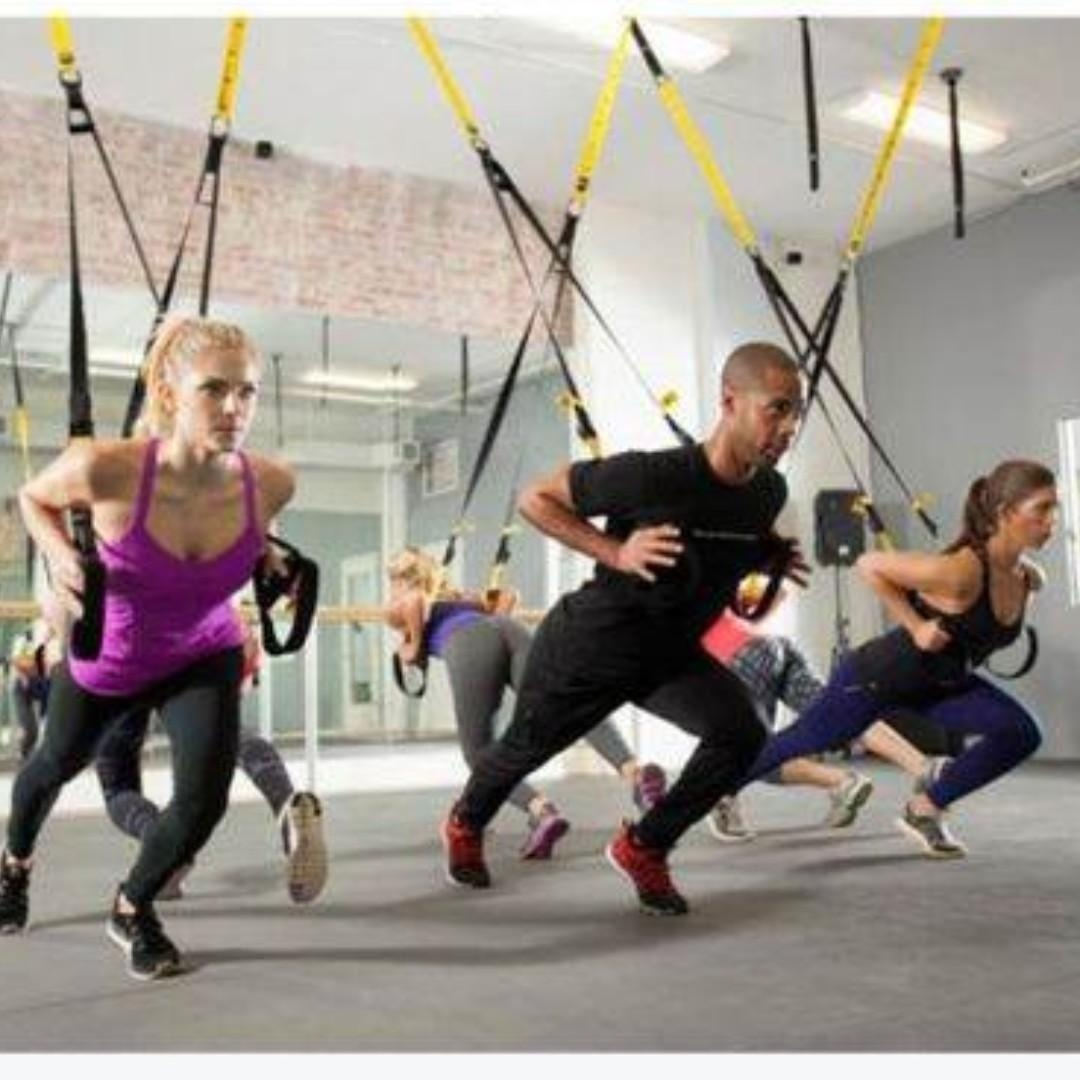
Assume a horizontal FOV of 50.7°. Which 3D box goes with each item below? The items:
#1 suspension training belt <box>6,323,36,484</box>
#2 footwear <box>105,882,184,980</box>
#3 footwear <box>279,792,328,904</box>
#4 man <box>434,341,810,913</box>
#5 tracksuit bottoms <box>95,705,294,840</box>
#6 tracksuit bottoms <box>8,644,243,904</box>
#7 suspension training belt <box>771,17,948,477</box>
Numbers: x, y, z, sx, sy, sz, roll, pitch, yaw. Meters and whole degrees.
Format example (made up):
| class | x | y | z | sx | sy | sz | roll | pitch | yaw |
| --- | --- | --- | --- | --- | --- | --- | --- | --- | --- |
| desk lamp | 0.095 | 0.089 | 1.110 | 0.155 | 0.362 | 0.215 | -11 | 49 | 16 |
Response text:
| class | x | y | z | sx | sy | sz | roll | pitch | yaw |
| --- | --- | --- | --- | --- | --- | --- | --- | --- | --- |
| suspension training belt | -0.920 | -0.244 | 2.014 | 0.073 | 0.243 | 0.015 | 6 | 1 | 23 |
| footwear | -0.711 | 0.703 | 2.046 | 0.197 | 0.072 | 0.086 | 17 | 16 | 33 |
| footwear | -0.411 | 0.551 | 2.058 | 0.087 | 0.186 | 0.088 | -5 | -9 | -10 |
| man | 0.169 | 0.196 | 2.160 | 0.724 | 0.966 | 0.552 | -5 | -23 | 40 |
| tracksuit bottoms | -0.567 | 0.406 | 2.096 | 0.352 | 0.267 | 0.195 | -3 | 13 | 12 |
| tracksuit bottoms | -0.742 | 0.415 | 2.034 | 0.388 | 0.422 | 0.043 | 5 | 1 | 2 |
| suspension training belt | 0.569 | -0.532 | 2.113 | 0.373 | 0.806 | 0.040 | 15 | 7 | 8 |
